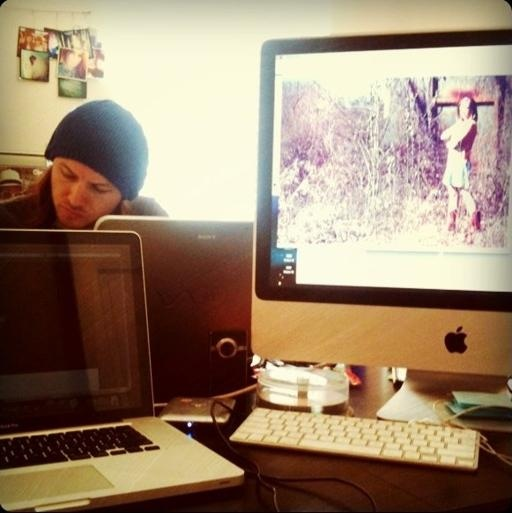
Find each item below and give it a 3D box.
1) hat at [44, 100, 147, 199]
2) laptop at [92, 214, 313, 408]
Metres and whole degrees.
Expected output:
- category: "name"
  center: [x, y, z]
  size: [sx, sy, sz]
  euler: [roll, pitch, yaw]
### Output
- category: "hat"
  center: [-0.563, -0.367, 1.797]
  size: [0.262, 0.279, 0.343]
  euler: [38, -2, -26]
- category: "laptop"
  center: [-0.104, 0.103, 0.929]
  size: [0.306, 0.418, 0.038]
  euler: [-1, 2, -1]
